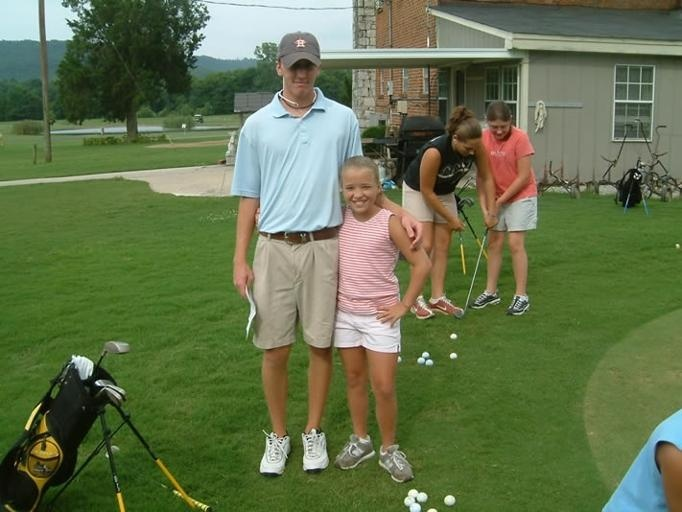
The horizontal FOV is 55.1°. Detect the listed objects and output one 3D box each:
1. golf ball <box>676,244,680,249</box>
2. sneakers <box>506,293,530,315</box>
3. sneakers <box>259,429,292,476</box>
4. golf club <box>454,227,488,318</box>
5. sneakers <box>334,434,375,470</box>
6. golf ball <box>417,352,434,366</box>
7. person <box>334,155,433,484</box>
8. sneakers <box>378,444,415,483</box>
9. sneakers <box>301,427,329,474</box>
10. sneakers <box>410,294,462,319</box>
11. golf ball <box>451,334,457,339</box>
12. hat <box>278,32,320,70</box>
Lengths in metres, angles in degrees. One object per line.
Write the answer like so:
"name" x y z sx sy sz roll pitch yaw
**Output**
"golf ball" 4.735 -0.133 9.164 0.033 0.059 0.049 -6 -10 24
"sneakers" 1.820 0.497 6.734 0.118 0.158 0.332 6 10 39
"sneakers" -0.428 1.284 4.161 0.121 0.143 0.307 1 0 2
"golf club" 1.577 0.217 7.925 0.131 1.096 0.110 20 1 -2
"sneakers" 0.097 1.257 4.310 0.294 0.174 0.137 -21 18 -37
"golf ball" 0.737 0.896 5.671 0.102 0.049 0.101 6 7 -1
"person" 0.253 0.389 4.097 0.578 1.995 0.371 3 11 10
"sneakers" 0.344 1.319 4.162 0.120 0.135 0.300 -7 2 -27
"sneakers" -0.162 1.260 4.136 0.117 0.141 0.305 -1 -1 -2
"sneakers" 0.979 0.502 6.786 0.561 0.276 0.228 2 7 -4
"golf ball" 1.070 0.757 6.163 0.041 0.024 0.041 1 7 0
"hat" -0.265 -1.246 3.958 0.264 0.221 0.189 1 11 -1
